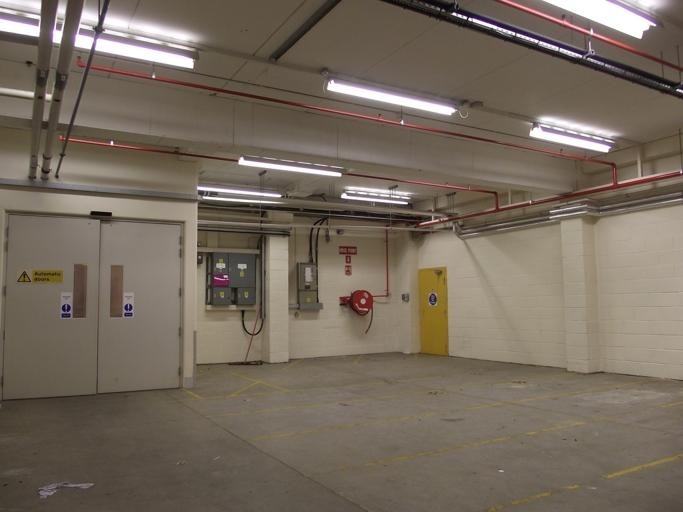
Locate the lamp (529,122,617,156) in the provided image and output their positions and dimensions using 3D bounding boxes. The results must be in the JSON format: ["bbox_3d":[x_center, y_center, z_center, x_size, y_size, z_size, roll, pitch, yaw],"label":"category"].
[{"bbox_3d":[4.102,-2.175,8.396,1.999,0.374,0.360,1,-3,-28],"label":"lamp"}]

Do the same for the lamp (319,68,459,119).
[{"bbox_3d":[0.730,-2.315,6.731,1.990,0.198,0.188,1,-3,-26],"label":"lamp"}]
